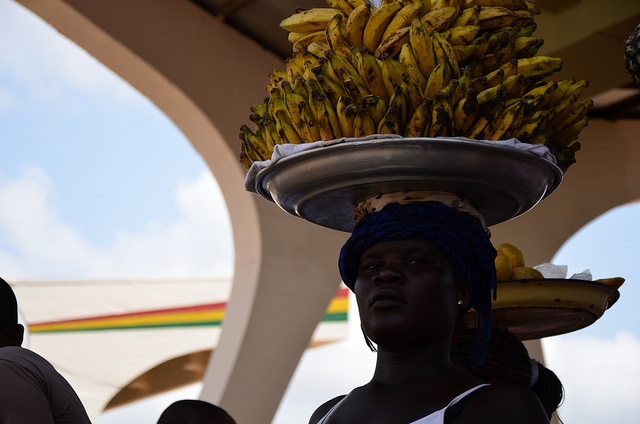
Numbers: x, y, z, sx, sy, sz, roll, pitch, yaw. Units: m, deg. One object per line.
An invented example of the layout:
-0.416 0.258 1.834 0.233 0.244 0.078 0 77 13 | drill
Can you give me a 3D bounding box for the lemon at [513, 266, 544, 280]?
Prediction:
0.983 0.290 2.662 0.137 0.081 0.085 4 -4 -14 | lemon
